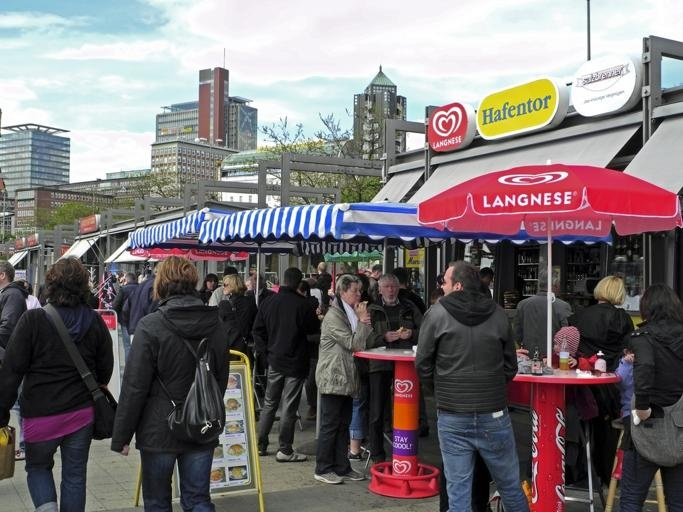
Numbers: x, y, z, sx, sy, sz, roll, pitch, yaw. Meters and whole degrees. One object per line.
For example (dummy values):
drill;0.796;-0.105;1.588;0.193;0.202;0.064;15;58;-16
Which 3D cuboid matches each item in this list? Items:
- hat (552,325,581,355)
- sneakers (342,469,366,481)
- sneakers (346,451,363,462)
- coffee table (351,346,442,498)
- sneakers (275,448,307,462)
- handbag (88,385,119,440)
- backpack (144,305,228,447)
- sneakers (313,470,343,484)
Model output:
hat;2.219;0.833;8.048;0.266;0.285;0.214;-1;-9;32
sneakers;0.138;2.302;8.575;0.202;0.086;0.112;2;-1;-4
sneakers;0.155;2.293;9.333;0.082;0.089;0.197;0;1;-39
coffee table;0.655;1.830;8.705;1.200;1.588;1.272;1;-11;0
sneakers;-0.567;2.269;9.248;0.355;0.159;0.137;1;-1;-23
handbag;-1.913;1.288;6.579;0.183;0.456;0.327;0;1;-17
backpack;-1.161;0.979;6.307;0.444;0.967;0.558;7;-10;-39
sneakers;-0.119;2.309;8.497;0.270;0.115;0.111;1;2;6
